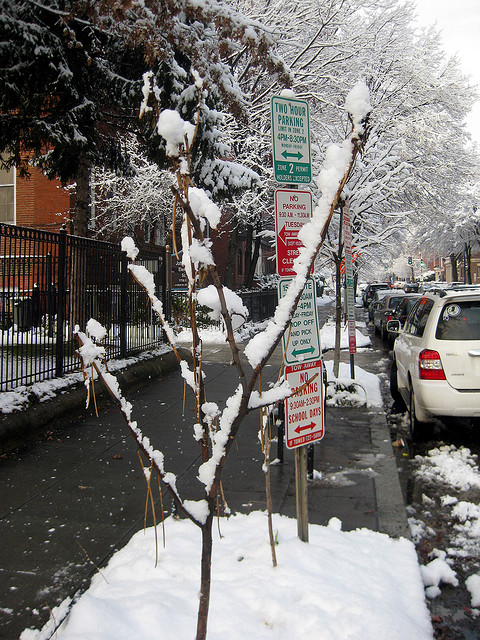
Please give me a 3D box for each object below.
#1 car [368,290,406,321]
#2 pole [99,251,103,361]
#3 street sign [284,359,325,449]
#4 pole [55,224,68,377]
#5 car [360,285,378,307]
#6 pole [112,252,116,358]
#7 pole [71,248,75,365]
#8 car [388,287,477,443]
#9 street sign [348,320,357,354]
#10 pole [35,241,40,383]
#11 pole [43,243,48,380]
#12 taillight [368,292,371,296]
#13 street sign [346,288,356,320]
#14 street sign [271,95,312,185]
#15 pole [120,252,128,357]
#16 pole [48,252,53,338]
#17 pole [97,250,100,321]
[{"bbox_3d":[7.026,-0.882,26.723,1.155,1.461,2.367,-1,10,2],"label":"car"},{"bbox_3d":[-2.215,-0.531,8.595,0.041,1.060,0.140,-1,3,-20],"label":"pole"},{"bbox_3d":[0.365,0.470,3.102,0.005,0.723,0.456,7,14,37],"label":"street sign"},{"bbox_3d":[-2.396,-0.267,7.179,0.149,2.042,0.373,0,3,-19],"label":"pole"},{"bbox_3d":[10.282,-1.963,42.750,1.073,1.206,2.538,1,7,11],"label":"car"},{"bbox_3d":[-2.117,-0.309,9.068,0.044,1.678,0.223,0,3,-15],"label":"pole"},{"bbox_3d":[-2.442,-0.233,7.862,0.052,1.628,0.662,0,4,-17],"label":"pole"},{"bbox_3d":[2.241,0.421,6.629,0.915,1.187,1.926,0,4,7],"label":"car"},{"bbox_3d":[1.890,0.265,9.109,0.102,0.570,0.507,1,4,10],"label":"street sign"},{"bbox_3d":[-2.540,-0.108,6.741,0.068,1.737,0.455,-1,4,-22],"label":"pole"},{"bbox_3d":[-2.500,-0.163,6.937,0.052,1.576,0.327,-1,3,-20],"label":"pole"},{"bbox_3d":[9.677,-2.052,40.447,0.072,0.374,0.348,0,8,-8],"label":"taillight"},{"bbox_3d":[1.867,-0.291,9.082,0.097,0.526,0.398,1,4,6],"label":"street sign"},{"bbox_3d":[0.302,-1.085,3.252,0.069,0.504,0.369,3,4,41],"label":"street sign"},{"bbox_3d":[-2.046,-0.249,9.469,0.139,2.078,0.158,-1,-17,-8],"label":"pole"},{"bbox_3d":[-2.451,-0.333,6.954,0.049,1.093,0.222,-1,3,-21],"label":"pole"},{"bbox_3d":[-2.235,-0.562,8.502,0.032,1.052,0.205,0,3,-15],"label":"pole"}]
